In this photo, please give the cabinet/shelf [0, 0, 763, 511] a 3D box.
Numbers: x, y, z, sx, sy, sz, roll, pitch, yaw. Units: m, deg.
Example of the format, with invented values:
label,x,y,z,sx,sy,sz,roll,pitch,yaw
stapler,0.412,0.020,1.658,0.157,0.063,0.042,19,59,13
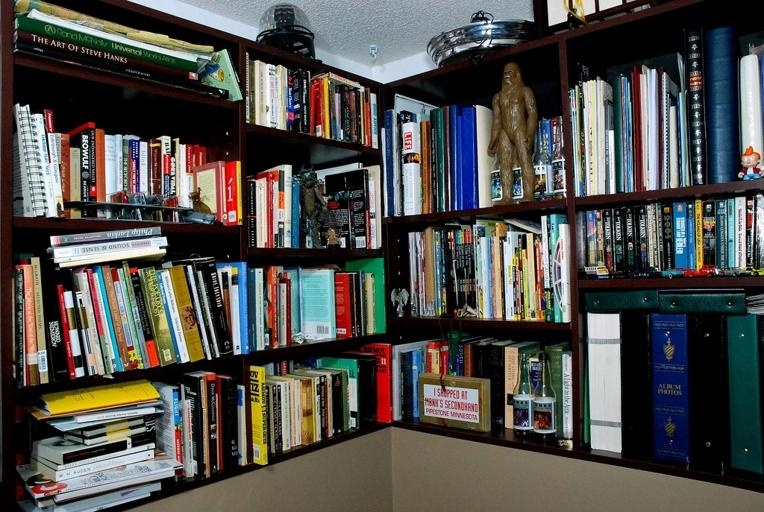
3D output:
label,x,y,z,sx,sy,sz,roll,pitch,yaw
cabinet/shelf,0.007,-0.019,2.797,2.089,1.327,2.137,-6,-6,43
